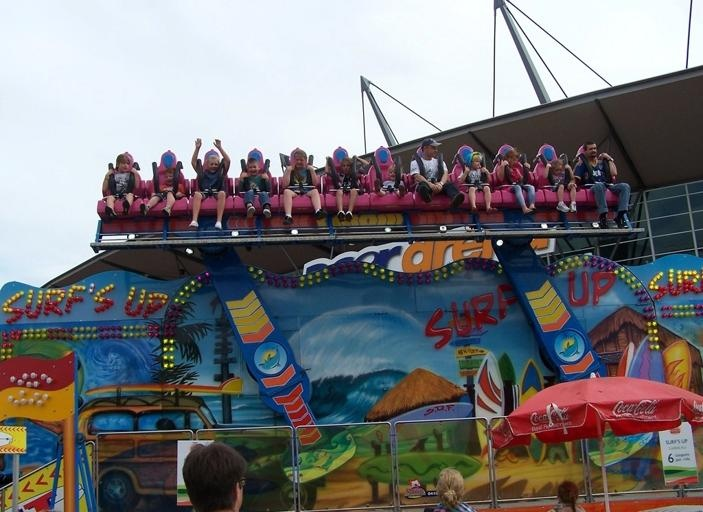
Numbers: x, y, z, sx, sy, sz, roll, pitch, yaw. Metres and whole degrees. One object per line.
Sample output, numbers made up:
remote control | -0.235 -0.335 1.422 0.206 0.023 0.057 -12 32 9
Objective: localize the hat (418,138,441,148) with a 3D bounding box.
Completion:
hat | 1.805 -2.646 26.020 0.469 0.227 0.301 -3 -2 15
